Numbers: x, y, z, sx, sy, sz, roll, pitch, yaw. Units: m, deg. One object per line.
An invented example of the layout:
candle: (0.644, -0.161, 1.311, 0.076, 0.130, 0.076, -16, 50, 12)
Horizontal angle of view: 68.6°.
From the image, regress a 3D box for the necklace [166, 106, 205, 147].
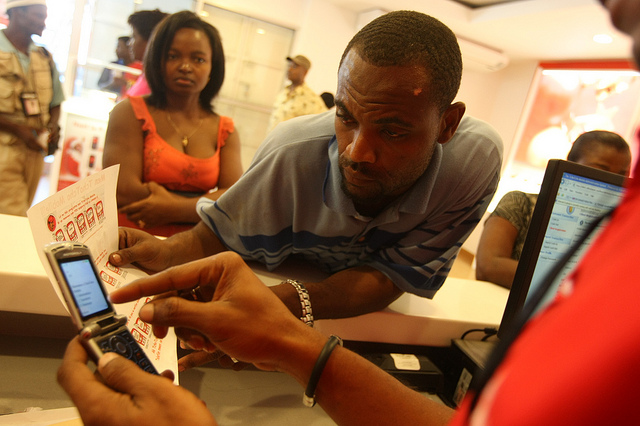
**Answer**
necklace: (-0.589, -0.374, 2.050, 0.197, 0.225, 0.017, 6, -11, -24)

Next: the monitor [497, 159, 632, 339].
monitor: (0.631, 0.087, 1.253, 0.128, 0.450, 0.380, 23, 19, 40)

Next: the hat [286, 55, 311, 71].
hat: (-0.209, -1.564, 4.831, 0.226, 0.133, 0.236, 9, 13, -6)

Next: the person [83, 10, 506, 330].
person: (0.109, -0.205, 1.439, 1.329, 0.769, 0.667, -13, 46, -25)

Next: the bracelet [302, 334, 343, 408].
bracelet: (0.008, 0.355, 1.060, 0.029, 0.160, 0.088, 19, 17, 29)
